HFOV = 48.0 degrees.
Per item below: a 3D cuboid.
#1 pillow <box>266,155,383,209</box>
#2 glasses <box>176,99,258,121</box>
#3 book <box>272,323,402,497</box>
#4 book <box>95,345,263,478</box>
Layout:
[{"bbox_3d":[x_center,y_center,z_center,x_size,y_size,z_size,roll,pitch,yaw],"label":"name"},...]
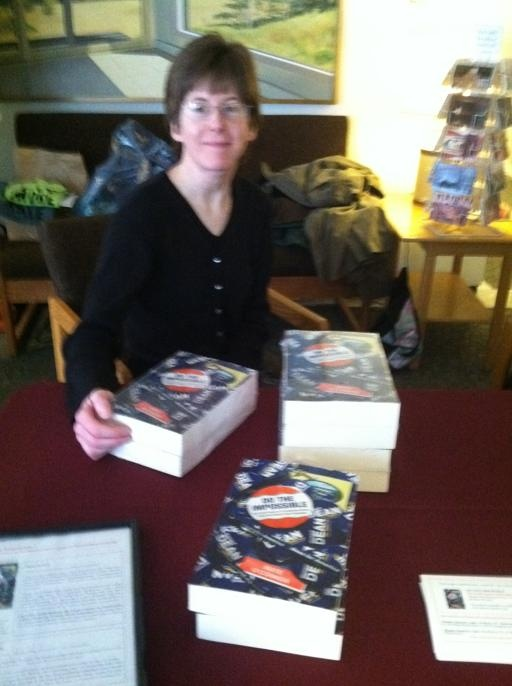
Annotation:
[{"bbox_3d":[0.364,-0.761,2.763,0.422,0.135,0.396,-4,28,-11],"label":"pillow"},{"bbox_3d":[-0.081,-0.458,1.132,0.121,0.039,0.036,-2,29,-8],"label":"glasses"},{"bbox_3d":[0.114,0.135,0.872,0.191,0.136,0.312,1,27,3],"label":"book"},{"bbox_3d":[-0.104,0.099,0.825,0.158,0.075,0.223,15,31,24],"label":"book"}]
